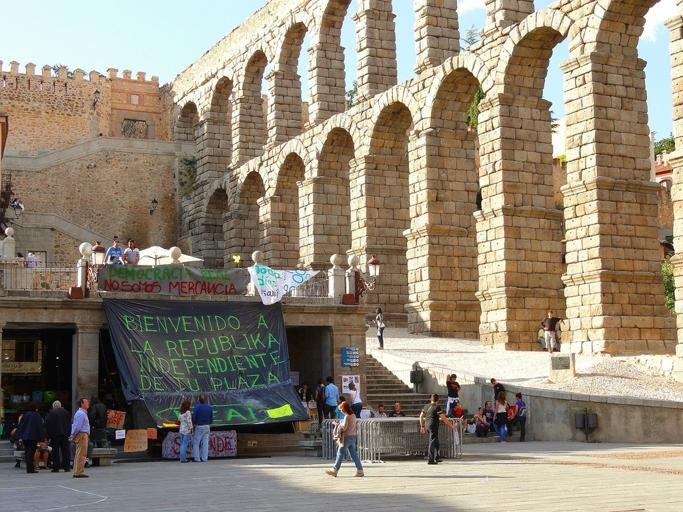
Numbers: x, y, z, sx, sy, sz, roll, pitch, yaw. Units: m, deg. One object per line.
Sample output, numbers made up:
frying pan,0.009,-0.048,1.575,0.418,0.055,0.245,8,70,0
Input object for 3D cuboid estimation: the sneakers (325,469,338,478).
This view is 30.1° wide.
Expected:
sneakers,-0.232,4.935,28.783,0.245,0.091,0.136,16,-1,31

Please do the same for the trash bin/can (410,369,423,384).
trash bin/can,2.351,3.840,39.906,0.400,0.407,0.398,0,-1,1

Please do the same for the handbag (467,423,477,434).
handbag,3.765,5.051,37.002,0.250,0.220,0.203,15,-22,-5

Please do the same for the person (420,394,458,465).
person,2.325,4.312,31.298,0.814,1.664,1.316,-2,-10,4

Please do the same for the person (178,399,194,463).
person,-4.089,4.618,33.304,0.355,1.612,0.938,0,-10,-7

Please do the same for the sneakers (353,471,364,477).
sneakers,0.382,4.964,28.878,0.246,0.167,0.088,0,-1,23

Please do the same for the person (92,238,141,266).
person,-7.393,-0.094,41.253,0.337,0.622,0.998,-15,-14,33

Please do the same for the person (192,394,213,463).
person,-3.674,4.518,33.242,0.488,1.755,0.570,0,-10,-7

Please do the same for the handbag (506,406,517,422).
handbag,4.867,4.537,36.395,0.273,0.447,0.251,0,-11,-8
